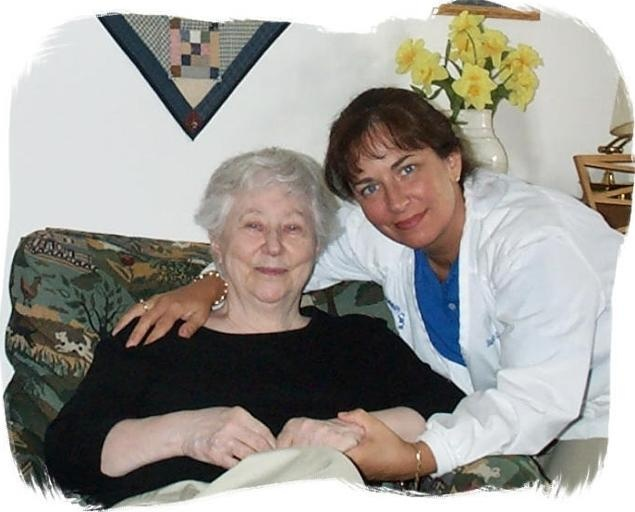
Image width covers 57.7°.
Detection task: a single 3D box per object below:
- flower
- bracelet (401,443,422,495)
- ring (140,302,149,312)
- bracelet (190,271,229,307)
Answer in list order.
[{"bbox_3d":[0.530,-0.668,2.203,0.490,0.397,0.470,6,-7,-9],"label":"flower"},{"bbox_3d":[0.258,0.612,1.631,0.048,0.115,0.088,-2,12,1],"label":"bracelet"},{"bbox_3d":[-0.584,0.172,1.942,0.032,0.011,0.026,37,43,12],"label":"ring"},{"bbox_3d":[-0.384,0.108,2.033,0.130,0.138,0.056,4,-20,10],"label":"bracelet"}]
